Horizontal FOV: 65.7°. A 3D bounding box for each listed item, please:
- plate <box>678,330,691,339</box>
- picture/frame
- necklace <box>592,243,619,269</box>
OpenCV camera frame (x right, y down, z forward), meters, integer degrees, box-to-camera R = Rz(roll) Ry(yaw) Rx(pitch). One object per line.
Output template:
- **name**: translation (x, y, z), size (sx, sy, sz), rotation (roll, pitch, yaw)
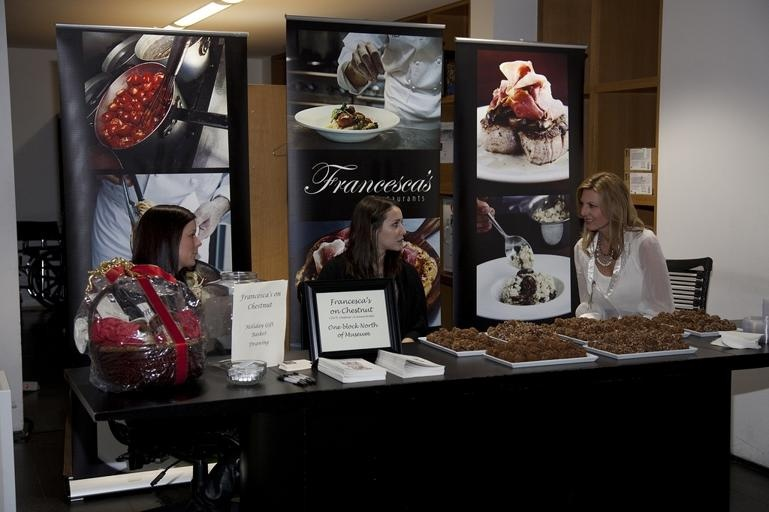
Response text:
- **plate**: translation (1.392, 0.364, 2.761), size (0.056, 0.017, 0.075), rotation (-3, 9, -1)
- **picture/frame**: translation (-0.132, 0.265, 2.401), size (0.331, 0.288, 0.024), rotation (1, -14, -21)
- **necklace**: translation (1.383, 0.002, 3.755), size (0.121, 0.166, 0.048), rotation (-24, -36, 15)
